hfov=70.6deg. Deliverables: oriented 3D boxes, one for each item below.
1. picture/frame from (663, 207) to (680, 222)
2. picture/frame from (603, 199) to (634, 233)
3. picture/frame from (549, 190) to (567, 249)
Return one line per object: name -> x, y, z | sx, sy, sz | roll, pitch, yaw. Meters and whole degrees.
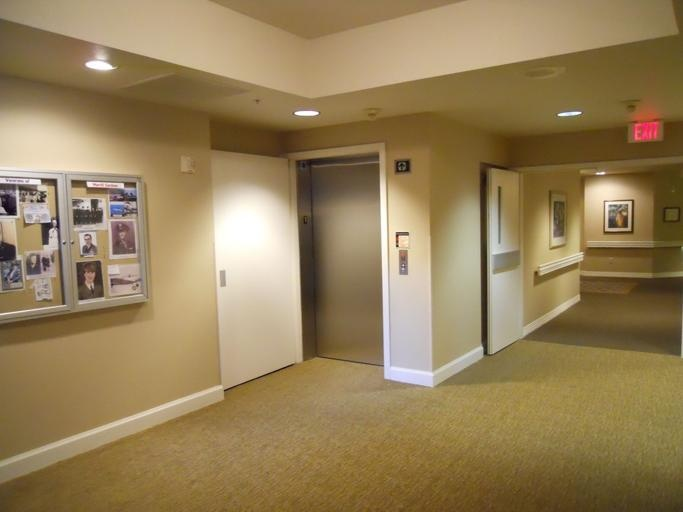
picture/frame -> 8.146, -1.025, 11.896 | 0.318, 0.396, 0.028 | 3, 4, 36
picture/frame -> 7.133, -1.044, 12.374 | 0.755, 1.090, 0.065 | 2, 3, 33
picture/frame -> 3.733, -0.632, 8.316 | 0.163, 0.976, 1.073 | 4, 10, 32
